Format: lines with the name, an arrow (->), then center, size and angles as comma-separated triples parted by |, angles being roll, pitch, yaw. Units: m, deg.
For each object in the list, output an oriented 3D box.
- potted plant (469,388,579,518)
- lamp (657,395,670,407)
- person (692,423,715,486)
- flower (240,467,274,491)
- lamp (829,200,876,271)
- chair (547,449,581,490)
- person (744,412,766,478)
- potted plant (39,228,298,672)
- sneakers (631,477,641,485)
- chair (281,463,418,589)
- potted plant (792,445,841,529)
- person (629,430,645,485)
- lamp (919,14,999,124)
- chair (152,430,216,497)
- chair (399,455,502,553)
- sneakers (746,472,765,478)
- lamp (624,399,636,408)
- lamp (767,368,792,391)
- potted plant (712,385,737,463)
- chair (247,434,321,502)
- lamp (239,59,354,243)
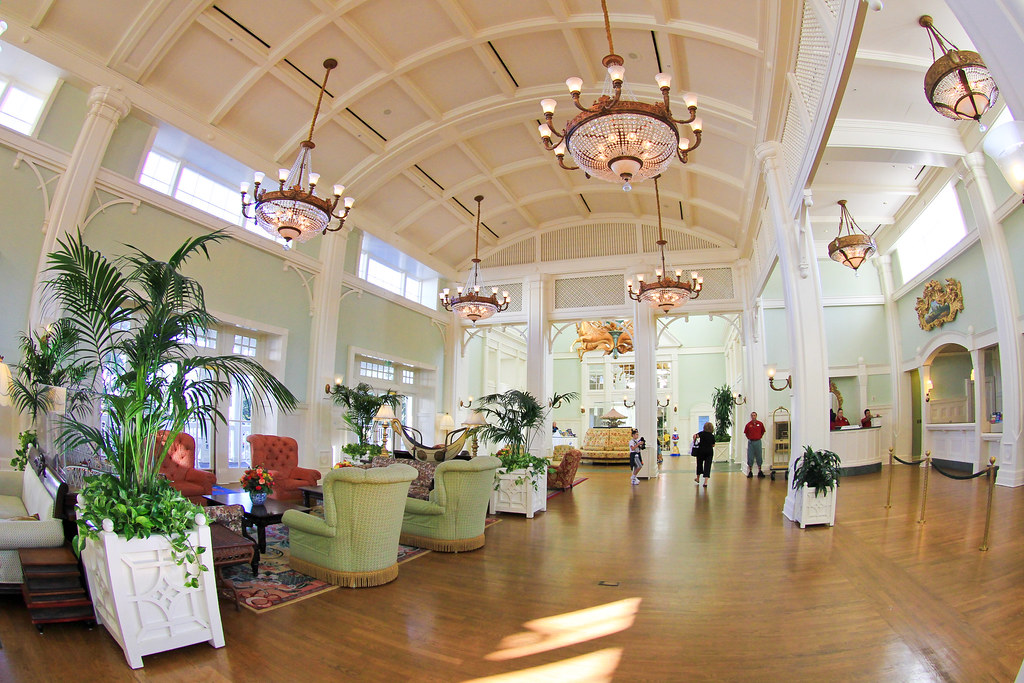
potted plant -> 0.362, 1.947, 10.422 | 1.843, 2.344, 1.535 | 7, -2, -39
lamp -> 6.188, 2.445, 23.893 | 0.545, 0.582, 0.300 | -12, -31, 39
person -> 4.323, 2.598, 13.351 | 0.443, 1.417, 1.228 | 1, 3, 17
flower -> -3.420, 1.839, 7.946 | 0.326, 0.315, 0.321 | 12, 0, -42
lamp -> 7.089, -2.251, 12.418 | 0.815, 1.622, 0.816 | -7, -21, 21
chair -> 1.266, 2.975, 13.591 | 1.027, 1.182, 0.835 | -4, -12, 13
person -> 5.917, 2.547, 14.307 | 0.381, 1.732, 1.387 | 1, 3, 24
potted plant -> -3.340, 0.922, 5.731 | 2.214, 4.145, 2.069 | -1, 11, 31
sneakers -> 3.004, 3.383, 14.156 | 0.112, 0.223, 0.296 | 9, -20, -30
chair -> -1.879, 2.140, 7.199 | 1.360, 1.265, 1.252 | -7, -12, 41
potted plant -> 4.538, 2.138, 8.778 | 0.671, 1.145, 0.584 | 3, -3, -29
person -> 3.131, 2.830, 14.518 | 0.281, 1.261, 1.094 | 1, 3, 18
lamp -> 5.547, -3.399, 7.379 | 0.749, 1.381, 0.892 | 3, 4, 44
chair -> -5.240, 2.062, 9.267 | 0.892, 1.121, 0.806 | 2, -4, 40
chair -> -0.850, 2.252, 8.485 | 1.342, 1.285, 1.207 | -4, -7, 31
sneakers -> 6.039, 3.323, 14.574 | 0.383, 0.177, 0.122 | -7, -7, 5
lamp -> 4.851, 2.614, 24.491 | 0.418, 0.377, 0.440 | 0, 3, 2
lamp -> 6.959, 1.040, 15.332 | 0.523, 0.650, 0.950 | 1, 4, 24
potted plant -> 6.281, 2.257, 17.407 | 0.464, 1.782, 1.357 | 1, 3, 19
chair -> -4.107, 2.285, 10.540 | 1.014, 1.210, 0.944 | -5, -10, 29
lamp -> -3.935, -3.519, 10.542 | 1.513, 3.510, 1.545 | 22, -37, -16
